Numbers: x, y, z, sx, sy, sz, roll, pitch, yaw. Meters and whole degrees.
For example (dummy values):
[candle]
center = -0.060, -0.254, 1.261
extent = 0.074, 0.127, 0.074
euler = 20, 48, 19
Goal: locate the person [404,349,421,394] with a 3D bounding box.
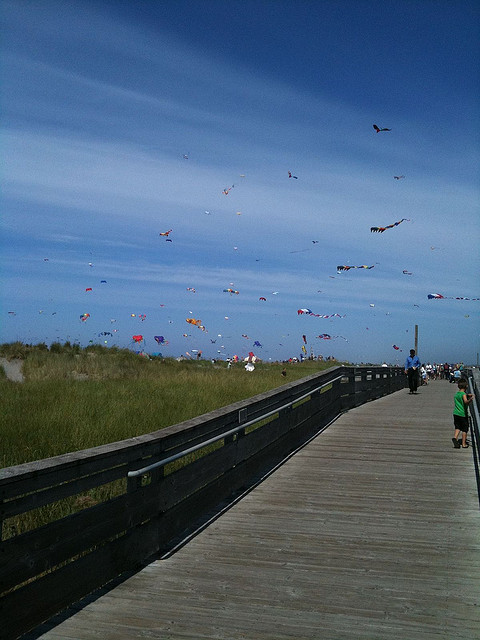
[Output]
[person]
center = 6.651, 1.965, 18.386
extent = 0.687, 1.670, 0.585
euler = -1, -2, 14

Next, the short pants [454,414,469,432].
[short pants]
center = 3.753, 1.745, 8.108
extent = 0.207, 0.283, 0.237
euler = -1, -5, 19
